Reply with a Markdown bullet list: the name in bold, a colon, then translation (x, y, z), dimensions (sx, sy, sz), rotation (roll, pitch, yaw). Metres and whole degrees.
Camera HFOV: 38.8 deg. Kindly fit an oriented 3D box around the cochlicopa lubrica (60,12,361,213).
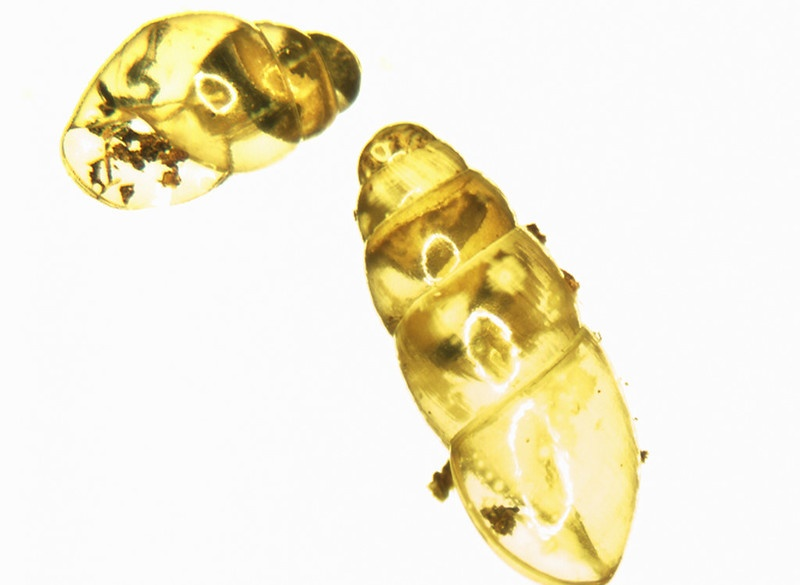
- **cochlicopa lubrica**: translation (-0.973, -0.883, 5.474), dimensions (1.591, 0.616, 1.042), rotation (-15, -66, -6)
